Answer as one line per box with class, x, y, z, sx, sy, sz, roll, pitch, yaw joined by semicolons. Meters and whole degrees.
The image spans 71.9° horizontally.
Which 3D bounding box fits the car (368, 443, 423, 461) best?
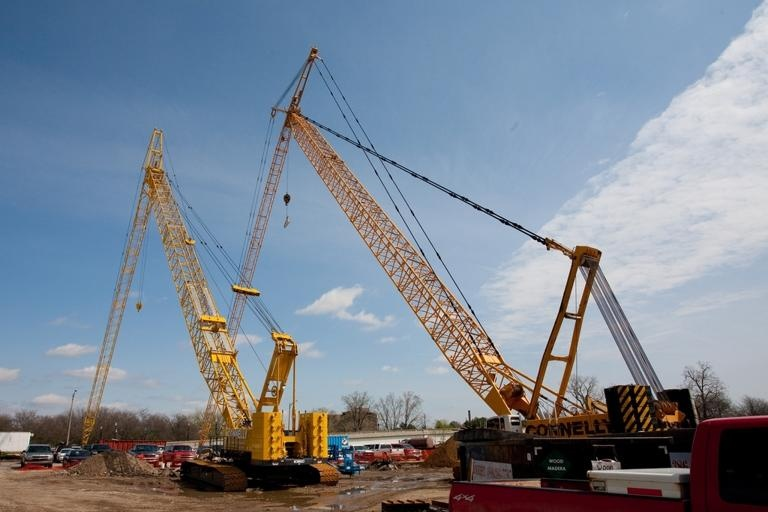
car;1.207;16.977;46.409;4.433;1.345;2.387;21;-36;-25
